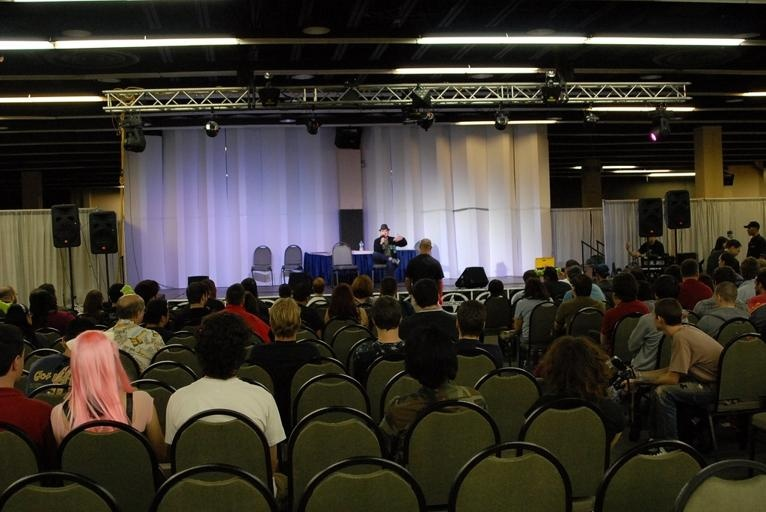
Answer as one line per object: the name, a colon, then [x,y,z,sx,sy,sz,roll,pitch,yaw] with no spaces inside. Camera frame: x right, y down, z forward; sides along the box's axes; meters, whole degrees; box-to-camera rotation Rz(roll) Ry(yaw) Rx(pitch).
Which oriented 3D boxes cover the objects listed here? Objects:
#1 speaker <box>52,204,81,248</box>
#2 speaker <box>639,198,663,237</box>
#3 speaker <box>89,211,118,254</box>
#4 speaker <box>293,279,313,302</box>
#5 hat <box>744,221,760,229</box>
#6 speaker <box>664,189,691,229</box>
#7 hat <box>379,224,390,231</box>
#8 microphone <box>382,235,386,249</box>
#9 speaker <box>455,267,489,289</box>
speaker: [-6.143,-0.579,13.380,0.543,0.833,0.307,-1,2,-11]
speaker: [5.615,-0.808,14.492,0.533,0.765,0.452,0,2,11]
speaker: [-5.532,-0.466,13.702,0.475,0.837,0.335,-1,2,-17]
speaker: [-1.315,0.552,11.308,0.278,0.352,0.345,5,21,4]
hat: [7.834,-0.663,14.643,0.197,0.151,0.912,0,2,30]
speaker: [6.314,-0.987,14.833,0.514,0.806,0.472,0,2,20]
hat: [0.045,-0.738,17.706,0.262,0.125,0.324,0,-7,0]
microphone: [0.028,-0.353,16.783,0.051,0.218,0.153,3,4,-22]
speaker: [1.940,0.484,14.991,0.500,0.428,0.500,2,12,-31]
